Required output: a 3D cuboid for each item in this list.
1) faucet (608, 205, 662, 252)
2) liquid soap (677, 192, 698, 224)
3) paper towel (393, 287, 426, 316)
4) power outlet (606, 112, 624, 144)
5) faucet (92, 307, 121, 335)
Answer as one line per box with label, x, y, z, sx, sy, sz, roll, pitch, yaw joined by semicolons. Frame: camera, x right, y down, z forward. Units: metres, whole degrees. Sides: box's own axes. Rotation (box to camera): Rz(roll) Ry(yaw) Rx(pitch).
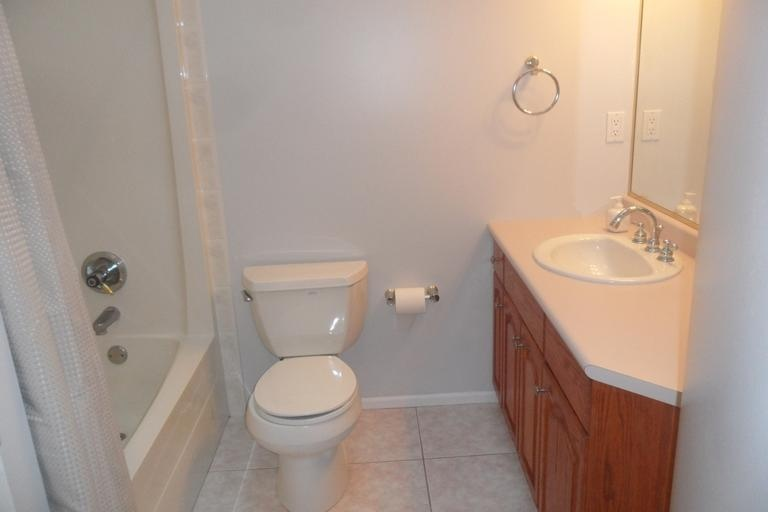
faucet;0.996;-0.110;2.191;0.196;0.182;0.062;6;27;24
liquid soap;1.207;-0.192;2.218;0.073;0.121;0.081;-10;25;-4
paper towel;0.128;0.214;2.721;0.190;0.135;0.105;0;21;3
power outlet;1.097;-0.615;2.639;0.068;0.120;0.014;8;17;31
faucet;-1.221;0.280;2.482;0.046;0.088;0.141;-21;27;38
